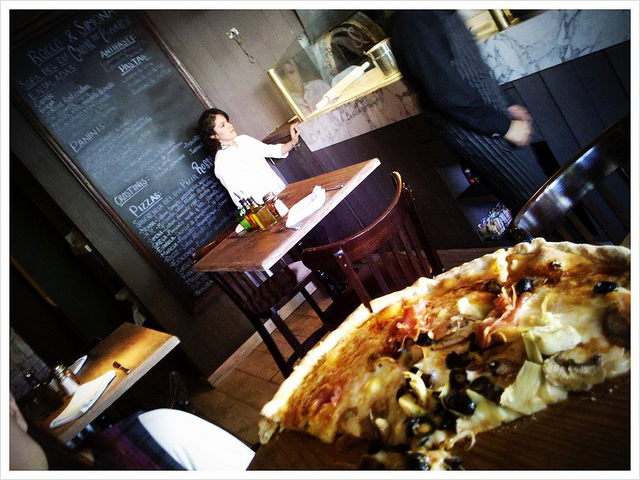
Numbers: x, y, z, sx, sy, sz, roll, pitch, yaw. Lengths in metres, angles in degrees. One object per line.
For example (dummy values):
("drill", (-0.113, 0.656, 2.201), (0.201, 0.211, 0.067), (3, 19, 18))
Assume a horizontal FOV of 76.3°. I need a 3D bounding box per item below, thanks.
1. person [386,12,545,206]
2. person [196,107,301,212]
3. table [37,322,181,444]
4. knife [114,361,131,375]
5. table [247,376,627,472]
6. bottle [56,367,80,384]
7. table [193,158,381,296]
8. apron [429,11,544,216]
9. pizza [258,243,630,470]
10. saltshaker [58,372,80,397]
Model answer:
("person", (0.848, -0.777, 2.323), (0.351, 1.234, 0.447), (-36, 34, 19))
("person", (-0.620, -0.653, 3.434), (0.359, 0.932, 0.599), (-9, 48, 46))
("table", (-1.155, 0.683, 2.283), (0.587, 0.022, 0.540), (0, 37, 40))
("knife", (-1.020, 0.673, 2.132), (0.112, 0.011, 0.023), (15, 55, 43))
("table", (0.299, 0.500, 0.997), (0.863, 0.113, 0.176), (-21, 24, 20))
("bottle", (-1.358, 0.724, 2.206), (0.038, 0.109, 0.161), (-40, 25, -27))
("table", (-0.029, 0.040, 2.634), (0.551, 0.824, 0.784), (-26, 47, 29))
("apron", (0.924, -0.699, 2.329), (0.447, 1.275, 0.218), (-19, 24, 20))
("pizza", (0.354, 0.308, 1.165), (1.059, 0.148, 0.614), (-24, 23, 12))
("saltshaker", (-1.315, 0.749, 2.131), (0.089, 0.127, 0.062), (-1, 34, 47))
